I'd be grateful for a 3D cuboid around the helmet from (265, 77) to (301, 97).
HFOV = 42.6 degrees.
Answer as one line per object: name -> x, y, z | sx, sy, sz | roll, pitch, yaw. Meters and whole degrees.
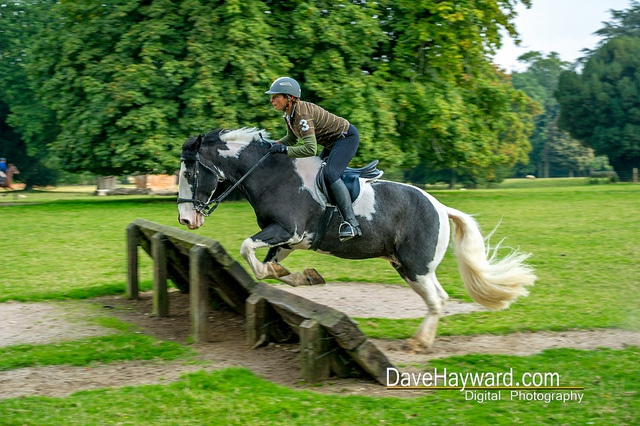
helmet -> -0.732, -2.671, 17.397 | 0.849, 0.228, 0.430 | 2, 3, -7
